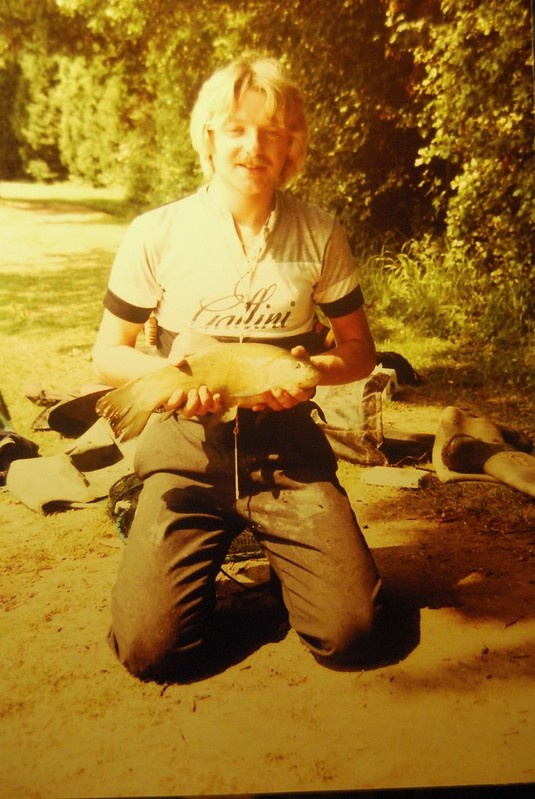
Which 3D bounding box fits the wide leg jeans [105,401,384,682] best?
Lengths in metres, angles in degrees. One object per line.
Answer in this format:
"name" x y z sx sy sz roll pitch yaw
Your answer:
"wide leg jeans" -0.105 0.405 2.008 0.922 0.772 0.455 2 -19 -22
